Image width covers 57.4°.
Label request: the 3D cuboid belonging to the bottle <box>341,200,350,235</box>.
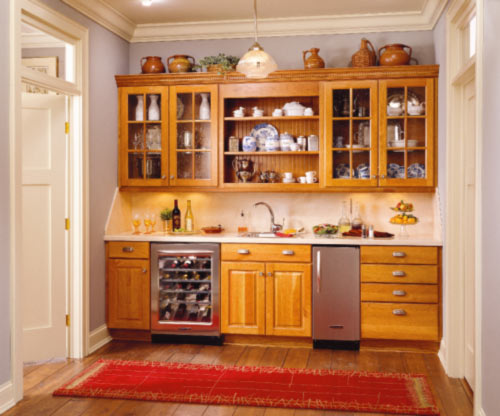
[{"bbox_3d":[0.942,0.103,4.497,0.105,0.264,0.377,-4,1,11],"label":"bottle"}]

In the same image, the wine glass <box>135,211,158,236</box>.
[{"bbox_3d":[-1.103,0.175,4.787,0.280,0.246,0.258,0,2,10],"label":"wine glass"}]

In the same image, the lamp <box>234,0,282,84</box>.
[{"bbox_3d":[0.064,-1.429,3.891,0.352,0.590,0.942,-4,1,1],"label":"lamp"}]

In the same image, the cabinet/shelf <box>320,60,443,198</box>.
[{"bbox_3d":[1.247,-0.740,4.249,1.650,1.421,0.488,0,0,11],"label":"cabinet/shelf"}]

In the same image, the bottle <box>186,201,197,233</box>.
[{"bbox_3d":[-0.613,0.094,4.682,0.109,0.307,0.426,-4,1,-7],"label":"bottle"}]

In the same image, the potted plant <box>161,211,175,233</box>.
[{"bbox_3d":[-0.846,0.147,4.731,0.118,0.236,0.358,-4,1,-10],"label":"potted plant"}]

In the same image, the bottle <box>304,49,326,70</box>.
[{"bbox_3d":[0.636,-1.434,4.468,0.222,0.193,0.347,-3,1,9],"label":"bottle"}]

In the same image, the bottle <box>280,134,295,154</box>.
[{"bbox_3d":[0.377,-0.631,4.518,0.201,0.181,0.179,1,-5,-4],"label":"bottle"}]

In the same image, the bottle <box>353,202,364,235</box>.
[{"bbox_3d":[1.048,0.102,4.451,0.109,0.268,0.405,-4,1,14],"label":"bottle"}]

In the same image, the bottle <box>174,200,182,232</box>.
[{"bbox_3d":[-0.751,0.093,4.716,0.102,0.304,0.369,-4,1,-8],"label":"bottle"}]

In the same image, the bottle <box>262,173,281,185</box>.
[{"bbox_3d":[0.205,-0.285,4.511,0.182,0.101,0.099,1,2,-10],"label":"bottle"}]

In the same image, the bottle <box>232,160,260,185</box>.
[{"bbox_3d":[-0.042,-0.365,4.602,0.368,0.275,0.257,1,4,9],"label":"bottle"}]

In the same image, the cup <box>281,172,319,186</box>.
[{"bbox_3d":[0.504,-0.279,4.499,0.288,0.082,0.157,0,1,17],"label":"cup"}]

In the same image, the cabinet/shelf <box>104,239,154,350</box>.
[{"bbox_3d":[-1.155,0.752,4.358,0.468,0.901,0.124,-4,1,20],"label":"cabinet/shelf"}]

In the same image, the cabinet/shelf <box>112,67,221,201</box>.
[{"bbox_3d":[-0.824,-0.763,4.548,1.686,1.445,0.486,0,-1,6],"label":"cabinet/shelf"}]

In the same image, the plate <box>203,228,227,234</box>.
[{"bbox_3d":[-0.364,0.248,4.676,0.224,0.068,0.331,-3,1,-3],"label":"plate"}]

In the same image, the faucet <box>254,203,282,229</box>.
[{"bbox_3d":[0.199,0.102,4.616,0.269,0.249,0.342,-3,1,1],"label":"faucet"}]

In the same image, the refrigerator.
[{"bbox_3d":[-0.599,0.802,4.333,0.715,0.865,0.224,-4,1,-3],"label":"refrigerator"}]

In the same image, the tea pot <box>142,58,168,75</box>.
[{"bbox_3d":[-0.960,-1.423,4.679,0.219,0.160,0.255,0,2,6],"label":"tea pot"}]

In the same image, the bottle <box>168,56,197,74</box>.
[{"bbox_3d":[-0.704,-1.426,4.632,0.321,0.185,0.254,-5,12,-16],"label":"bottle"}]

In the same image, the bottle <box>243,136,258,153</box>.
[{"bbox_3d":[0.004,-0.614,4.538,0.186,0.177,0.161,-4,8,-25],"label":"bottle"}]

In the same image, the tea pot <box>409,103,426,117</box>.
[{"bbox_3d":[1.534,-0.898,4.204,0.148,0.072,0.106,2,-1,-23],"label":"tea pot"}]

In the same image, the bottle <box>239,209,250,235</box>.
[{"bbox_3d":[-0.065,0.158,4.727,0.111,0.229,0.185,-4,1,-1],"label":"bottle"}]

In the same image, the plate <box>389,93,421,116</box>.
[{"bbox_3d":[1.432,-0.937,4.224,0.267,0.217,0.063,11,10,10],"label":"plate"}]

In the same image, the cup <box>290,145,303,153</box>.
[{"bbox_3d":[0.463,-0.571,4.479,0.098,0.057,0.087,0,-2,-4],"label":"cup"}]

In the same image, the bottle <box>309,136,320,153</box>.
[{"bbox_3d":[0.634,-0.619,4.467,0.113,0.139,0.203,-4,1,8],"label":"bottle"}]
